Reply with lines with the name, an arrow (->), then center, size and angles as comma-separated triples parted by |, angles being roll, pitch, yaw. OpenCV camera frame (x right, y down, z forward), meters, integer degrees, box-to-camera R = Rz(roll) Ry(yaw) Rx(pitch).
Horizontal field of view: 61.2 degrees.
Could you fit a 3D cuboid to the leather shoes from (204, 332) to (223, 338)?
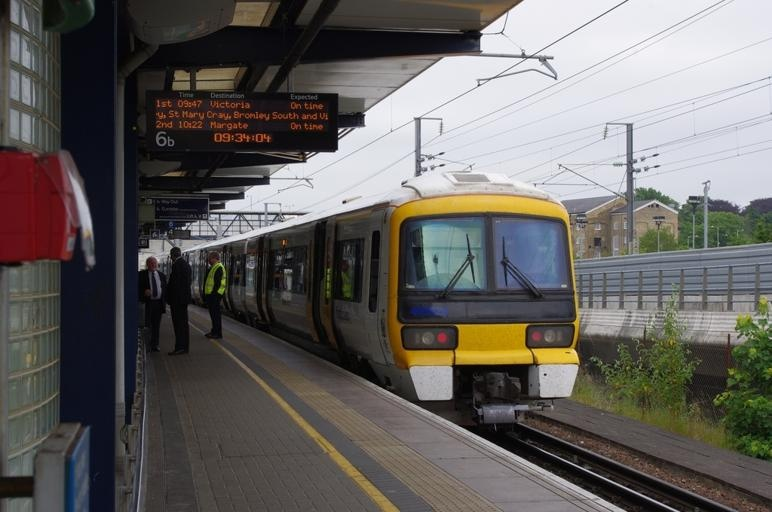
leather shoes -> -4.427, 2.022, 16.731 | 0.464, 0.190, 0.169 | 0, 2, 7
